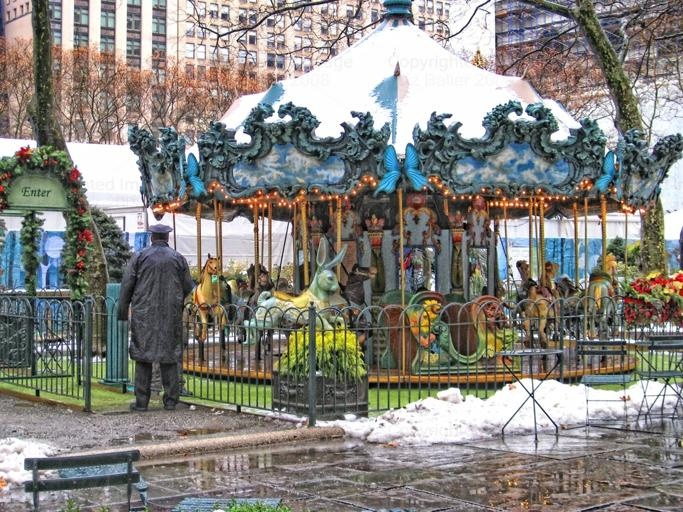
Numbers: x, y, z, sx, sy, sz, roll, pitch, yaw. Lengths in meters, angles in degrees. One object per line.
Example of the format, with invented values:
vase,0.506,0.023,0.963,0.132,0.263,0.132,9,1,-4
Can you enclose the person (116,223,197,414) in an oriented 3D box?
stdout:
person,-3.134,1.022,19.219,1.204,3.146,0.469,0,-5,-8

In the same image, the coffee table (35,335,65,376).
coffee table,-5.475,1.883,21.371,0.644,0.786,0.562,1,5,-6
